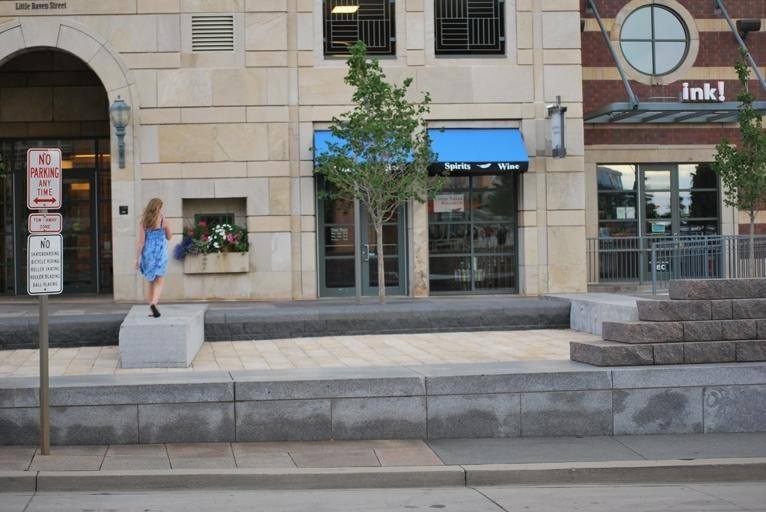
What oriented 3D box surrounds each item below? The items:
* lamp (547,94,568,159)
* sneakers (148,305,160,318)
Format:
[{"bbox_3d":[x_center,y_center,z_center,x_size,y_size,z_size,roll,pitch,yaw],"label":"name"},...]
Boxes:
[{"bbox_3d":[4.659,-3.457,40.844,0.415,1.050,0.706,-1,1,-16],"label":"lamp"},{"bbox_3d":[-4.877,1.158,33.144,0.227,0.219,0.391,-1,1,-7],"label":"sneakers"}]
